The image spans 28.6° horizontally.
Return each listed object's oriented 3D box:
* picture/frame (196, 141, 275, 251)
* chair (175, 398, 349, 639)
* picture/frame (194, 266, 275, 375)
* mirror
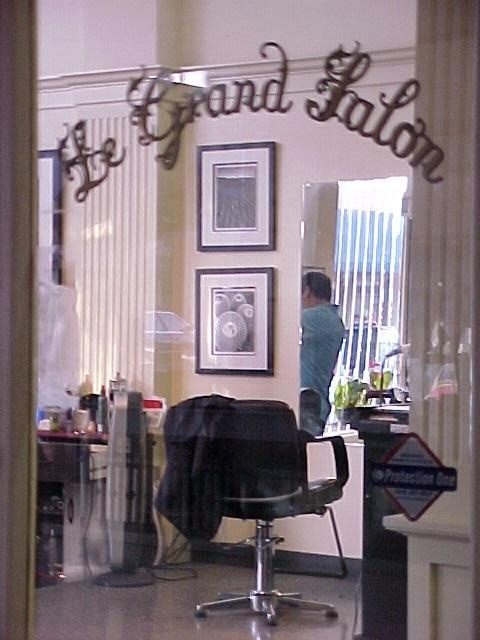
[{"bbox_3d":[-0.011,-0.273,2.036,0.167,0.294,0.027,-1,48,-1],"label":"picture/frame"},{"bbox_3d":[0.075,0.431,2.216,0.358,0.738,0.349,-3,-6,38],"label":"chair"},{"bbox_3d":[-0.013,0.006,2.028,0.159,0.023,0.291,0,48,1],"label":"picture/frame"},{"bbox_3d":[0.259,-0.033,1.996,0.168,0.586,0.018,0,27,6],"label":"mirror"}]
